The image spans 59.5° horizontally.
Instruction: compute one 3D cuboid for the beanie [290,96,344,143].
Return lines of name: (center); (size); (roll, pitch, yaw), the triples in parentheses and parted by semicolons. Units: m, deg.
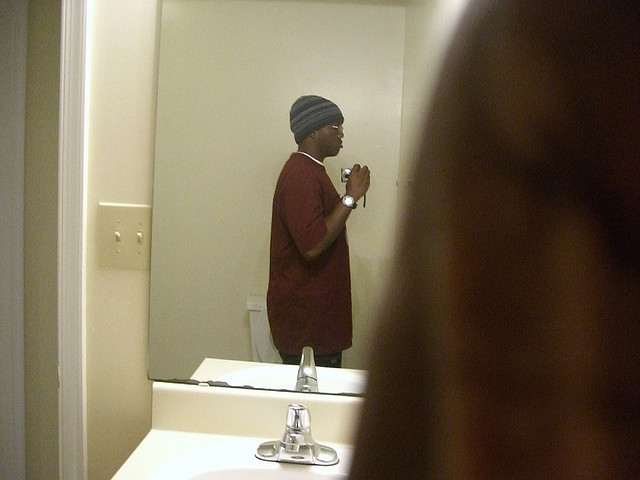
beanie: (-0.014, -0.188, 0.850); (0.062, 0.065, 0.105); (6, 17, 16)
